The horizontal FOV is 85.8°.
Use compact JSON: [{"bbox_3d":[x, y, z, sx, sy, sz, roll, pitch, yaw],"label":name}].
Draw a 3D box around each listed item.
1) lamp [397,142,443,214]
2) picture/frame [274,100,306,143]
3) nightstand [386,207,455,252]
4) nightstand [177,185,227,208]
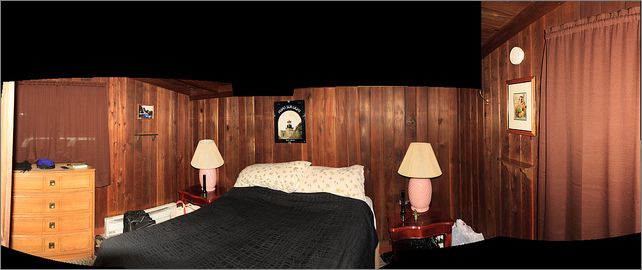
[{"bbox_3d":[1.519,0.670,5.427,0.488,1.100,0.377,-3,1,-30],"label":"lamp"},{"bbox_3d":[-0.562,-0.230,6.045,0.555,0.513,0.075,-2,2,17],"label":"picture/frame"},{"bbox_3d":[1.393,1.381,5.538,0.994,0.685,0.854,0,-8,-19],"label":"nightstand"},{"bbox_3d":[-2.101,1.068,6.180,0.571,0.439,0.456,12,17,44],"label":"nightstand"}]
